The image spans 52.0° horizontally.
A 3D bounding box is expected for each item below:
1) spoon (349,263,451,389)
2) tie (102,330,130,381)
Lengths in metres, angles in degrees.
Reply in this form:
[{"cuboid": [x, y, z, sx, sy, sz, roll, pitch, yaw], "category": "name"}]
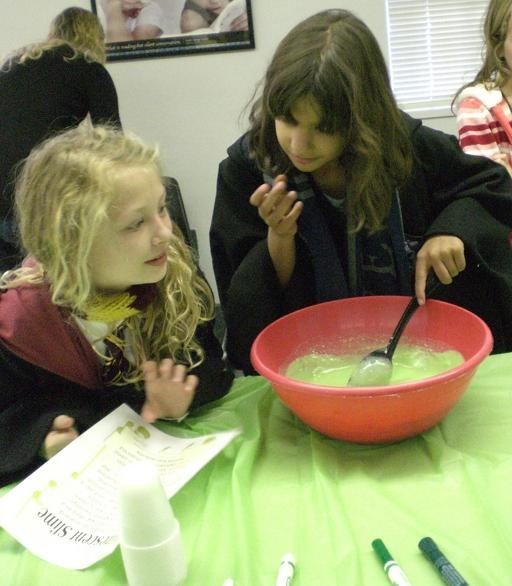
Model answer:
[{"cuboid": [0.256, 0.046, 0.890, 0.054, 0.044, 0.326, 7, 44, 38], "category": "spoon"}, {"cuboid": [-0.248, 0.112, 0.939, 0.053, 0.081, 0.018, -7, -5, 19], "category": "tie"}]
